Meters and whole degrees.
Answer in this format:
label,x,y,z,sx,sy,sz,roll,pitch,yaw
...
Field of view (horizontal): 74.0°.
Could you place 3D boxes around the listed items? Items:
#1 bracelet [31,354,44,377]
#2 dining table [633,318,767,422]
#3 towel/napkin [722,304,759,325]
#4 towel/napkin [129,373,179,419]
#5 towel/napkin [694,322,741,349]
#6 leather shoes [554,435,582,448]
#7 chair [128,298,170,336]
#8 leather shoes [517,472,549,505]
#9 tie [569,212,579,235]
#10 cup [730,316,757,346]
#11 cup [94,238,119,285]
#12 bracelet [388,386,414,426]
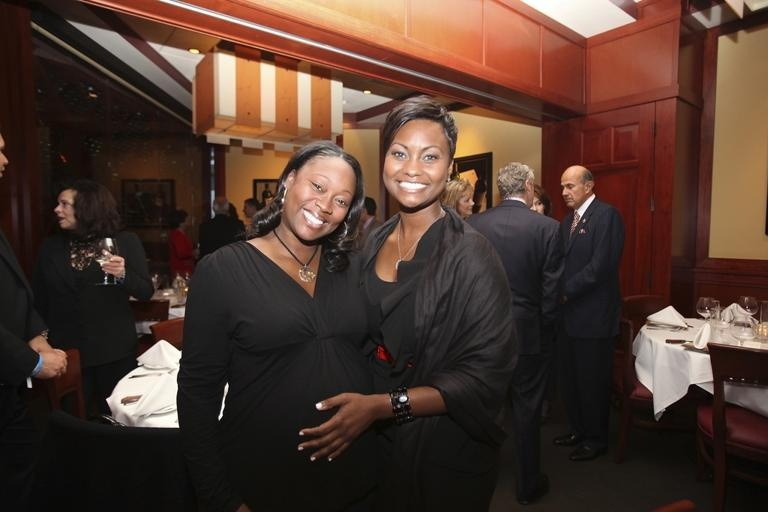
label,x,y,z,sx,sy,sz,roll,pitch,yaw
bracelet,-2.022,0.648,3.000,0.041,0.114,0.081,0,-1,-31
dining table,2.252,0.847,3.779,0.618,0.372,0.631,-2,8,-9
towel/napkin,2.788,0.460,3.992,0.189,0.100,0.235,3,5,-13
towel/napkin,-1.274,0.777,2.857,0.216,0.183,0.194,-6,12,-22
towel/napkin,2.463,0.592,3.794,0.310,0.136,0.234,2,-1,-33
leather shoes,1.611,1.607,4.475,0.256,0.112,0.096,4,2,0
chair,-1.881,0.483,4.087,0.259,0.355,0.294,1,23,-10
leather shoes,1.132,1.751,3.835,0.117,0.140,0.327,7,21,35
tie,1.740,-0.306,4.621,0.039,0.171,0.094,9,2,-13
cup,2.681,0.545,3.776,0.253,0.159,0.137,-8,13,-28
cup,-1.953,0.054,3.604,0.129,0.378,0.296,-8,13,-29
bracelet,0.085,0.694,2.347,0.101,0.160,0.147,-12,-8,-3
